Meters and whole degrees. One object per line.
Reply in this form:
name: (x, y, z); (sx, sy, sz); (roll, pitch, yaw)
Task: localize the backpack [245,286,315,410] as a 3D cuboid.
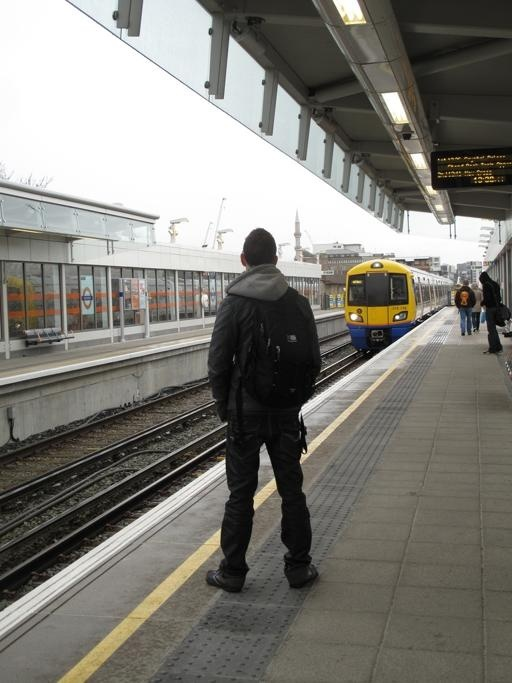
backpack: (0.121, 0.031, 2.393); (0.367, 0.569, 0.136); (-2, -6, -27)

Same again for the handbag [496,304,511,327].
handbag: (6.263, -0.681, 12.574); (0.342, 0.541, 0.879); (-7, -5, 26)

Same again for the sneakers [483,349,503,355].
sneakers: (6.456, 0.278, 13.494); (0.428, 0.175, 0.152); (-6, -1, 42)

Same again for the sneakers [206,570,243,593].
sneakers: (-0.152, 1.145, 2.438); (0.204, 0.091, 0.079); (5, -2, 43)

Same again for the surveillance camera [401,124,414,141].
surveillance camera: (2.408, -3.333, 7.929); (0.151, 0.189, 0.181); (-7, -22, 24)

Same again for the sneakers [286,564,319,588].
sneakers: (0.222, 1.120, 2.391); (0.162, 0.092, 0.119); (-4, -5, 0)

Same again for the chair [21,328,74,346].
chair: (-7.463, -0.204, 17.232); (0.561, 0.425, 1.564); (21, 13, 19)
